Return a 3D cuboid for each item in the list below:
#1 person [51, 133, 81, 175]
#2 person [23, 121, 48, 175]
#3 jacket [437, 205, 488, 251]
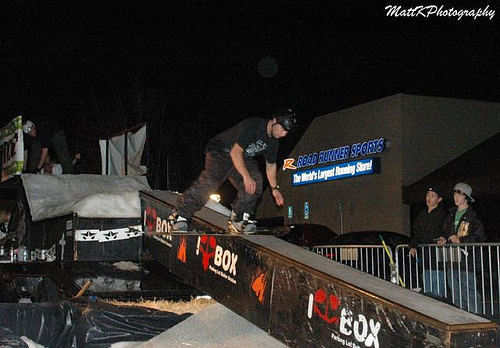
[{"bbox_3d":[-6.121,-0.601,14.002,0.586,0.593,1.752,16,-11,-31],"label":"person"},{"bbox_3d":[-6.323,-0.811,12.466,0.551,1.609,1.332,-5,0,-31],"label":"person"},{"bbox_3d":[3.861,0.952,7.713,0.729,0.706,0.494,-5,0,41],"label":"jacket"}]
